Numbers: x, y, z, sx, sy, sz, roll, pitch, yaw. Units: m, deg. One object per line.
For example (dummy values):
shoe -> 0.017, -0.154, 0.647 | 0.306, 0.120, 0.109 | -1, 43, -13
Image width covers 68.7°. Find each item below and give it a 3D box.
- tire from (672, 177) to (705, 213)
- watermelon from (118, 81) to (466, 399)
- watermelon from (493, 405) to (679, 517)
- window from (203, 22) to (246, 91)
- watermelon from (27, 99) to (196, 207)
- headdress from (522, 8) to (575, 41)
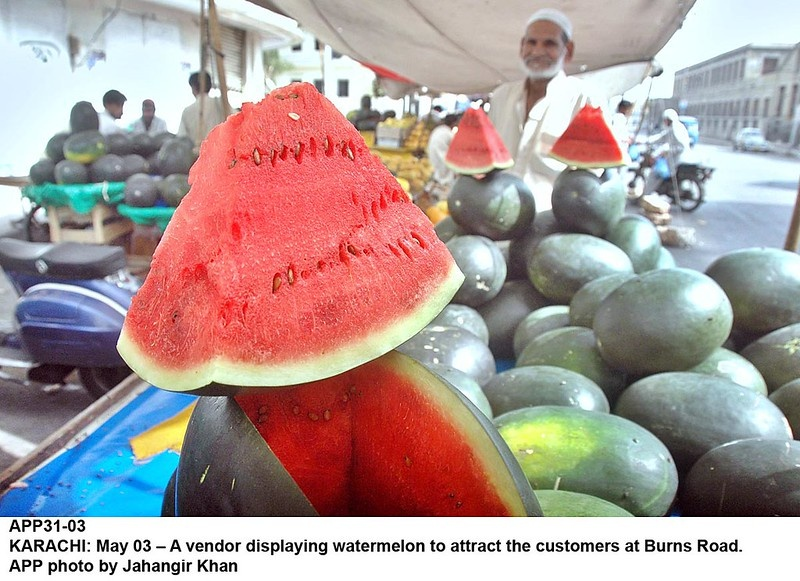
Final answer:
tire -> 1.138, -0.367, 2.283 | 0.031, 0.129, 0.128 | 21, 7, -26
watermelon -> -0.226, -0.119, 1.214 | 0.714, 0.574, 0.343 | -3, 21, -17
watermelon -> 0.493, 0.473, 1.673 | 0.476, 0.253, 0.255 | 13, 44, 1
window -> -0.968, -1.334, 3.372 | 0.070, 0.357, 0.182 | 11, 22, 21
watermelon -> -1.618, -0.733, 3.288 | 0.572, 0.260, 0.466 | -1, 12, 23
headdress -> 0.656, -1.135, 2.508 | 0.136, 0.083, 0.144 | 11, 22, 2
